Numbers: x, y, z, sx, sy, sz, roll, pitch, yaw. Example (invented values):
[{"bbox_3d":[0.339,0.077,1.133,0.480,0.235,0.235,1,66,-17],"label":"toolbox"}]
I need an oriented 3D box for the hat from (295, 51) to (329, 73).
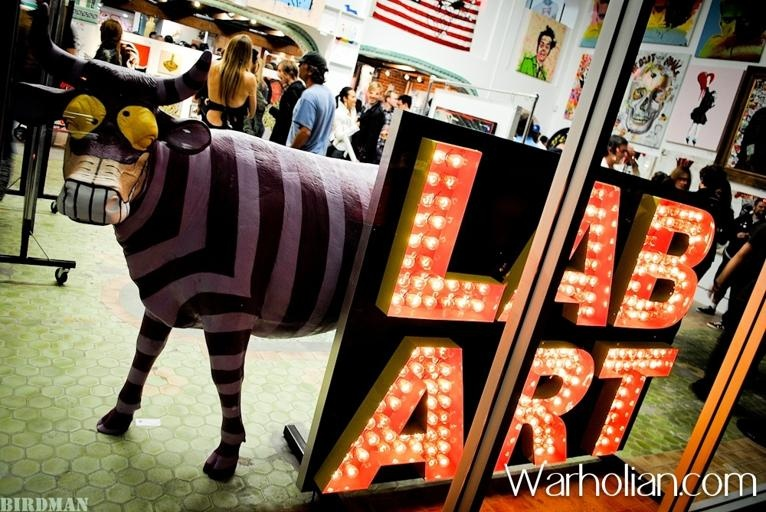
[{"bbox_3d":[-0.657,-1.749,4.783,0.230,0.125,0.170,48,35,12],"label":"hat"}]

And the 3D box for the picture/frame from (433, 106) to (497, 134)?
[{"bbox_3d":[0.933,-1.591,6.091,0.289,0.152,1.082,4,18,-22],"label":"picture/frame"}]
